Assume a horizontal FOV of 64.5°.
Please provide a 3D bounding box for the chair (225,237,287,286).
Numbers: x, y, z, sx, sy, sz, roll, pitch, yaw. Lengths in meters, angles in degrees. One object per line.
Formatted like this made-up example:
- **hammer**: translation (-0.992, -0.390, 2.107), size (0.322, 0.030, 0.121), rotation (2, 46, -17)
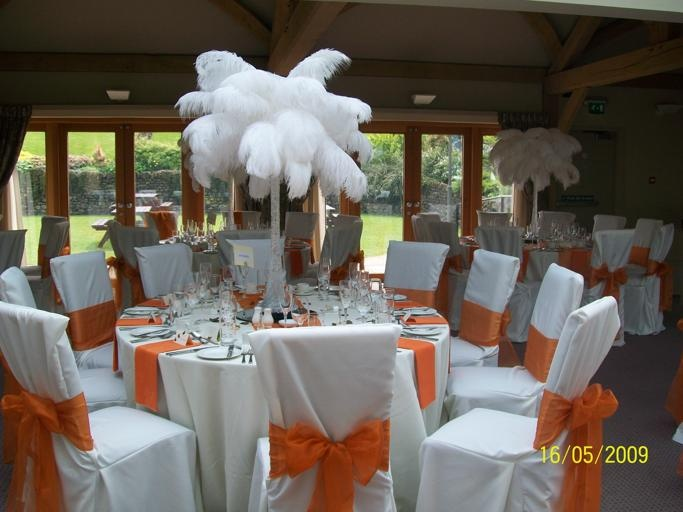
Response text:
- **chair**: translation (-0.613, 0.052, 3.952), size (0.364, 0.596, 0.430), rotation (-1, 12, 0)

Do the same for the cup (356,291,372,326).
- **cup**: translation (0.140, 0.306, 3.117), size (0.115, 0.285, 0.131), rotation (0, 4, 5)

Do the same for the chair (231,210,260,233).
- **chair**: translation (-1.356, -0.526, 7.747), size (0.383, 0.261, 1.018), rotation (-2, 4, -11)

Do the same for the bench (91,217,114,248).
- **bench**: translation (-3.939, -0.376, 8.898), size (0.313, 0.485, 0.146), rotation (0, 5, 15)

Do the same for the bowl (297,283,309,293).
- **bowl**: translation (-0.266, 0.232, 3.845), size (0.049, 0.051, 0.066), rotation (-3, -9, 12)

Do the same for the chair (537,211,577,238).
- **chair**: translation (2.787, -0.401, 6.994), size (0.431, 0.429, 0.415), rotation (6, -6, 7)

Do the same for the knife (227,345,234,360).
- **knife**: translation (-0.549, 0.474, 2.672), size (0.029, 0.050, 0.102), rotation (-2, 4, -10)

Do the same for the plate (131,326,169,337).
- **plate**: translation (-1.058, 0.417, 2.954), size (0.114, 0.024, 0.089), rotation (-3, 3, -23)

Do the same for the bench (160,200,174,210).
- **bench**: translation (-2.857, -0.824, 8.845), size (0.163, 0.207, 0.133), rotation (4, 18, 12)
